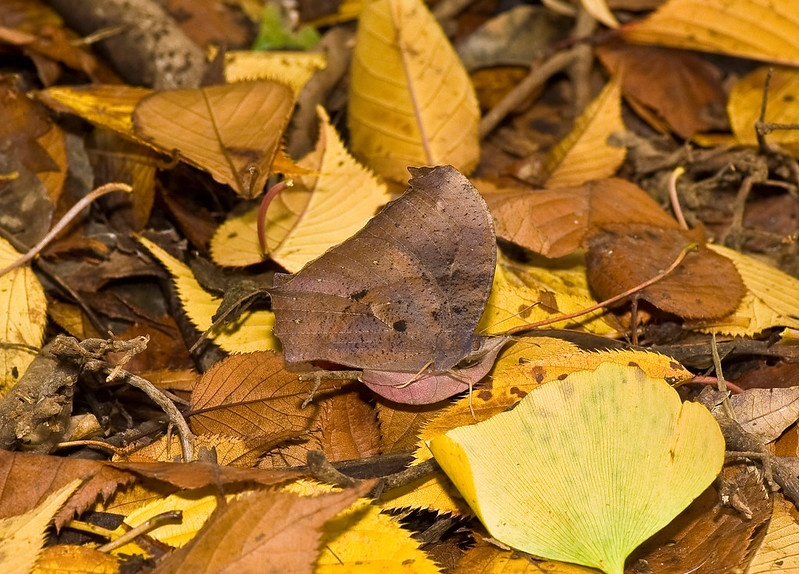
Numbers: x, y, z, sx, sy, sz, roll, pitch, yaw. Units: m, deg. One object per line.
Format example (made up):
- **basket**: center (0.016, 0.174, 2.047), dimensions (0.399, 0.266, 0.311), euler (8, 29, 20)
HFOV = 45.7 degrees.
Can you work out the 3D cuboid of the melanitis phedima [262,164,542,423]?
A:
- **melanitis phedima**: center (0.002, 0.039, 1.504), dimensions (0.390, 0.242, 0.274), euler (-33, 65, -8)
